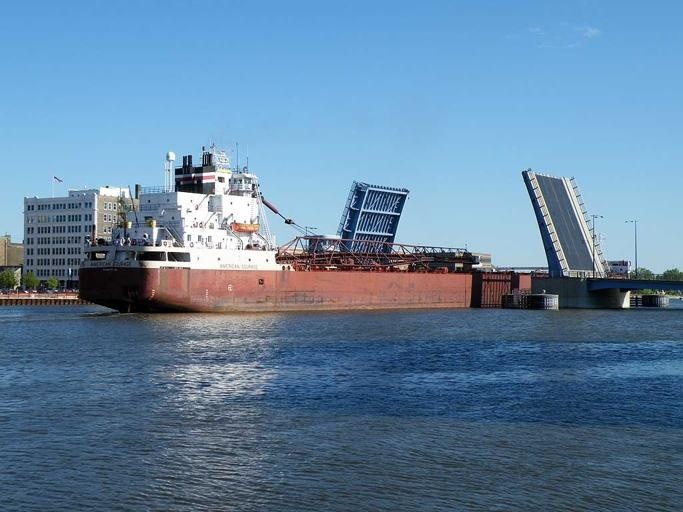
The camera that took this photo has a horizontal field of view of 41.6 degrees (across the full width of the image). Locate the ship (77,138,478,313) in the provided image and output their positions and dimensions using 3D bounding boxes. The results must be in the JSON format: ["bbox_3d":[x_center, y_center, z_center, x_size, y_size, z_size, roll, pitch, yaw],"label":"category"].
[{"bbox_3d":[-2.124,-0.647,66.598,7.505,8.425,36.629,4,0,36],"label":"ship"}]
